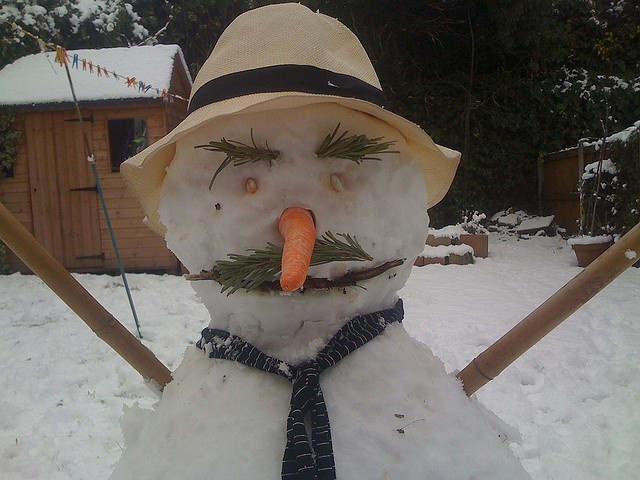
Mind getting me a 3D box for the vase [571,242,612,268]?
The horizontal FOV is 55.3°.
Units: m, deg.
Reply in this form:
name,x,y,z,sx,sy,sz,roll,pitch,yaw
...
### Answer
name,x,y,z,sx,sy,sz,roll,pitch,yaw
vase,3.532,0.164,7.957,0.320,0.300,0.361,0,-1,-1
